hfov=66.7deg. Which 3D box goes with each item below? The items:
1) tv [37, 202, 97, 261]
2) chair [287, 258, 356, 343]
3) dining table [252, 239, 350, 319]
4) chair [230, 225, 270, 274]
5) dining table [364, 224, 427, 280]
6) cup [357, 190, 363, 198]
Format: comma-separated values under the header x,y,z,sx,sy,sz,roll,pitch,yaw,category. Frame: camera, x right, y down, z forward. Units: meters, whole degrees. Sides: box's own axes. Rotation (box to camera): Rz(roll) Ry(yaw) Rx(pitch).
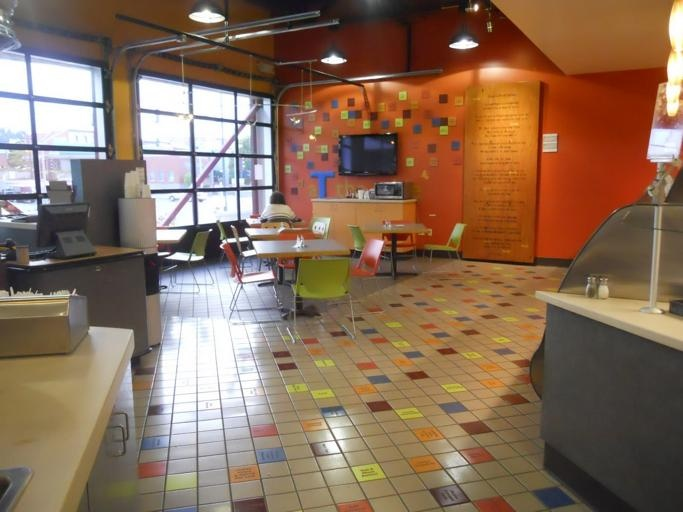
x,y,z,sx,sy,sz,roll,pitch,yaw,category
-2.237,-0.197,4.214,0.277,0.449,0.471,13,13,36,tv
-0.213,0.323,5.551,0.796,1.107,0.810,-2,22,-7,chair
-0.481,0.236,6.186,1.056,0.840,1.029,-1,7,-9,dining table
-1.393,-0.095,8.001,0.638,0.948,0.556,-9,22,-9,chair
0.863,-0.054,8.199,0.953,0.758,0.940,0,5,6,dining table
0.392,-1.241,10.278,0.126,0.180,0.163,-9,13,-31,cup
